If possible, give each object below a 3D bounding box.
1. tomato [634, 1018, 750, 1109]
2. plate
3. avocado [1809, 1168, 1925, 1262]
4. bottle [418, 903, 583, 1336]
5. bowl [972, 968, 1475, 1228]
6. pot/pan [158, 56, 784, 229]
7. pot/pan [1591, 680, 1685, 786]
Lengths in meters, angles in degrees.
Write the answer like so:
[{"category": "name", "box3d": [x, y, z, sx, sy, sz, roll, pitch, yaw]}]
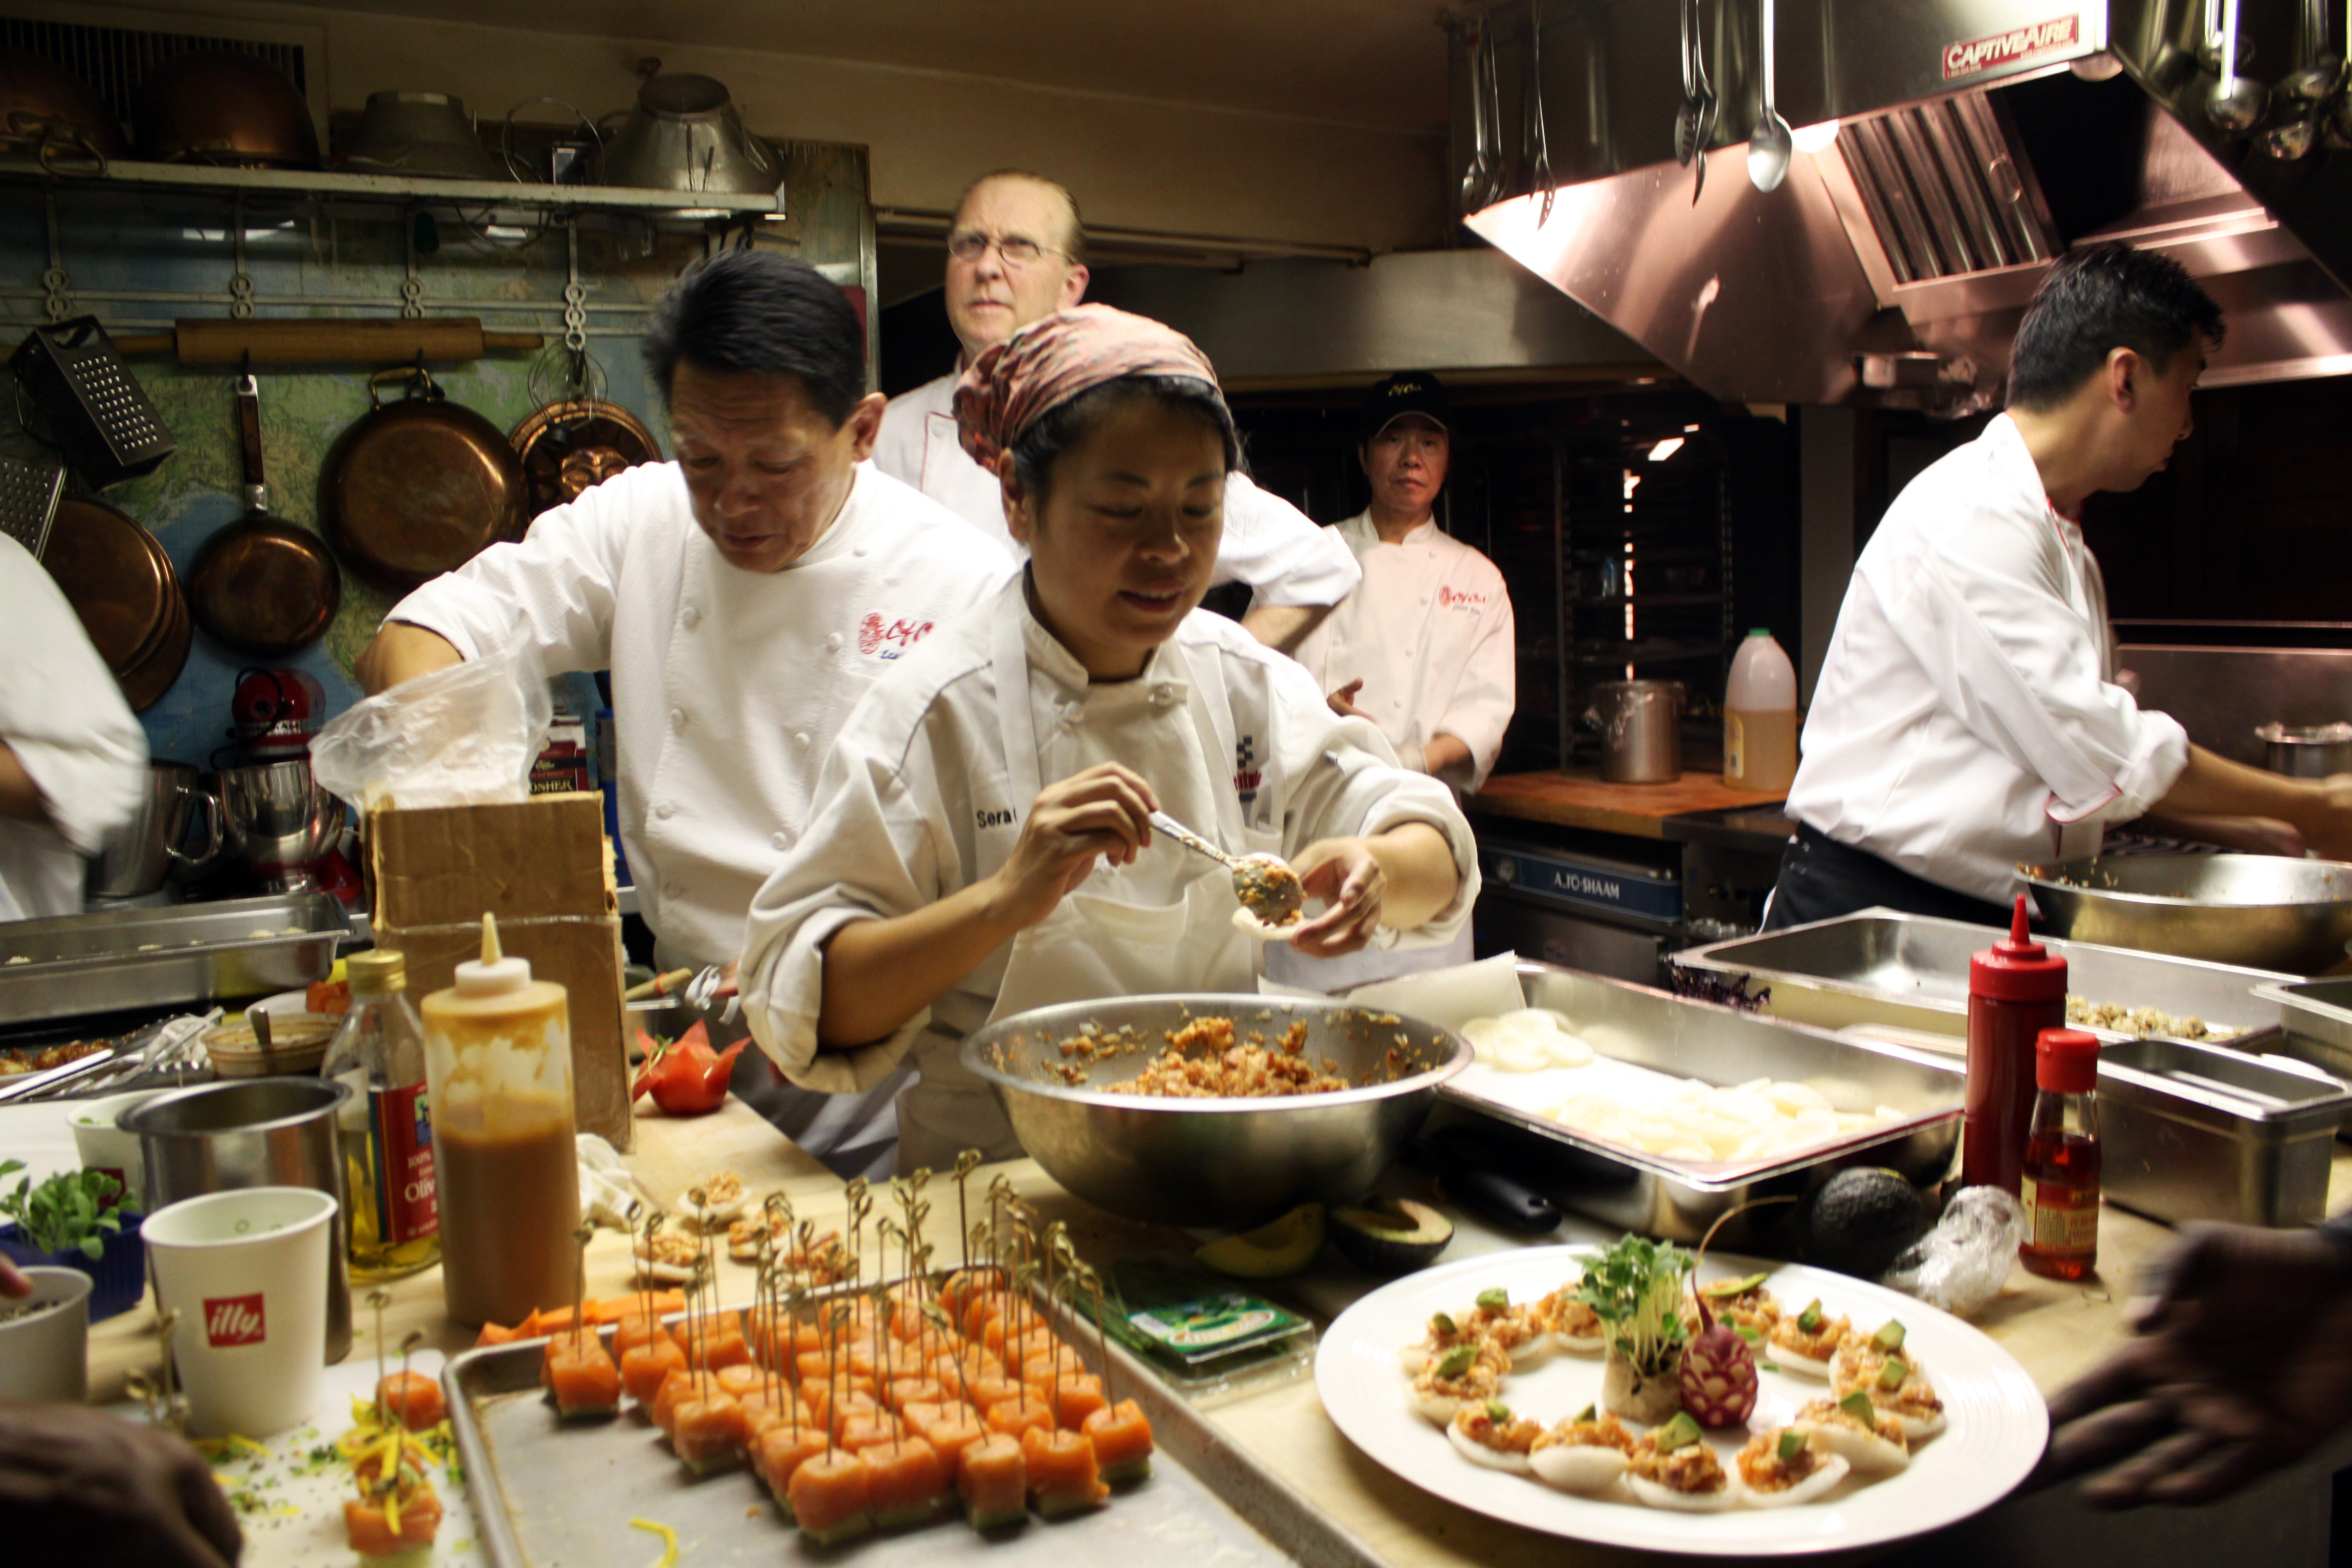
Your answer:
[{"category": "tomato", "box3d": [-0.732, 0.415, 2.322, 0.194, 0.110, 0.121, 6, 12, 44]}, {"category": "plate", "box3d": [0.487, 0.590, 1.547, 0.694, 0.121, 0.402, -2, 8, 1]}, {"category": "avocado", "box3d": [0.778, 0.496, 1.766, 0.110, 0.118, 0.110, -14, -18, 32]}, {"category": "bottle", "box3d": [-0.747, 0.376, 1.736, 0.154, 0.447, 0.122, -6, 9, -19]}, {"category": "bowl", "box3d": [0.054, 0.369, 1.827, 0.336, 0.118, 0.334, 1, 3, 0]}, {"category": "pot/pan", "box3d": [-1.828, -1.608, 3.997, 1.563, 0.304, 0.240, -5, 9, -18]}, {"category": "pot/pan", "box3d": [1.593, -0.166, 5.335, 0.338, 0.311, 0.298, 2, 5, 23]}]
